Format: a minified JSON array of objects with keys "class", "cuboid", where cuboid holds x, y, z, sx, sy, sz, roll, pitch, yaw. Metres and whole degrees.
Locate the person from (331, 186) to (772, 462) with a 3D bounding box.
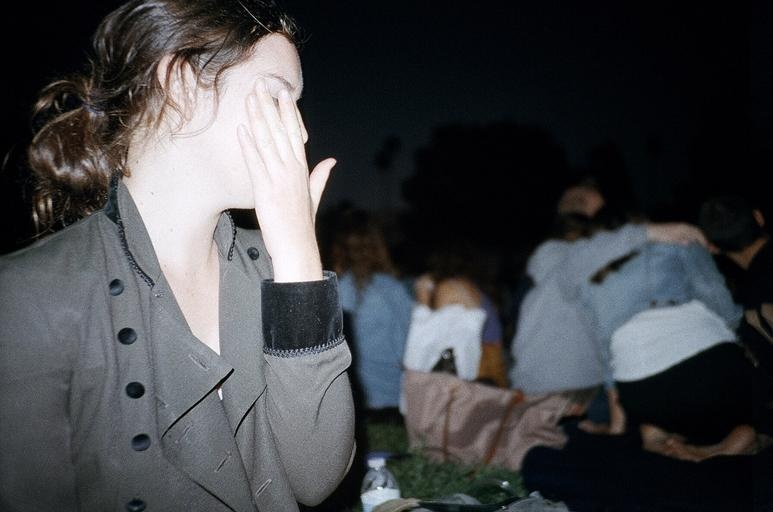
[{"class":"person","cuboid":[0.927,0.382,4.181,1.249,1.298,0.514,1,-8,20]}]
